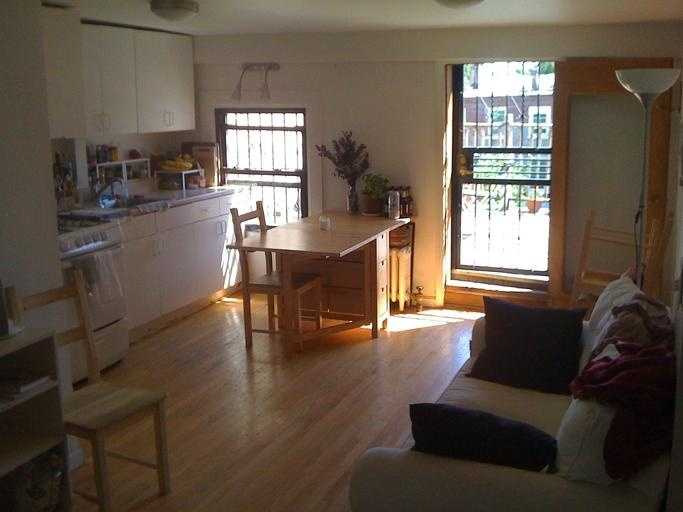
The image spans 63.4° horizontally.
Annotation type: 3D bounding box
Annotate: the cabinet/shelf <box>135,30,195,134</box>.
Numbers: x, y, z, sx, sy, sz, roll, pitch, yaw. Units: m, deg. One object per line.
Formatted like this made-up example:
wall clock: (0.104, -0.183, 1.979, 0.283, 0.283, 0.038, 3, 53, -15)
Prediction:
cabinet/shelf: (-2.198, -1.992, 6.353, 1.239, 1.235, 0.474, 11, 17, 41)

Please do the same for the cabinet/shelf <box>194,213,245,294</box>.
cabinet/shelf: (-1.315, -0.047, 5.793, 0.274, 0.718, 0.751, 0, 11, 14)

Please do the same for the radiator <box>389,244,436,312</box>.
radiator: (0.711, 0.261, 5.808, 0.534, 0.587, 0.405, 11, 6, 32)

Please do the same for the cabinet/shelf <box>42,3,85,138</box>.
cabinet/shelf: (-2.177, -1.435, 4.343, 0.231, 0.984, 0.550, 1, 10, 3)

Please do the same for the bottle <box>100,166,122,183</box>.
bottle: (-2.351, -0.820, 5.574, 0.110, 0.192, 0.199, 2, 13, 15)

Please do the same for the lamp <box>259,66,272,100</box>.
lamp: (-0.839, -1.873, 6.023, 0.118, 0.340, 0.270, -1, 11, -9)

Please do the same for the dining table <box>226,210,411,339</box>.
dining table: (-0.075, 0.207, 5.356, 1.288, 0.977, 2.069, 7, 14, 33)

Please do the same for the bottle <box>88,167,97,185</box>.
bottle: (-2.442, -0.786, 5.400, 0.084, 0.178, 0.073, -7, 12, -33)

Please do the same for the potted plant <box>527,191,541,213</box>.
potted plant: (2.011, -0.572, 5.819, 0.169, 0.189, 0.173, -8, 18, -20)

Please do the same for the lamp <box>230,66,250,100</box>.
lamp: (-1.161, -1.892, 6.076, 0.196, 0.355, 0.340, 1, 11, 5)

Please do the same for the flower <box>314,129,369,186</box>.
flower: (-0.006, -1.055, 6.095, 0.532, 0.623, 0.579, 1, 5, -1)

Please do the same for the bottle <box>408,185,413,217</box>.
bottle: (0.721, -0.562, 5.722, 0.048, 0.281, 0.141, 1, 10, 6)

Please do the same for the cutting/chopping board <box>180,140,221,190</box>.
cutting/chopping board: (-1.578, -1.043, 6.348, 0.450, 0.495, 0.110, 1, 4, 16)

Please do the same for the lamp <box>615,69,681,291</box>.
lamp: (2.298, -0.586, 4.224, 0.398, 1.754, 1.612, 6, 12, 28)

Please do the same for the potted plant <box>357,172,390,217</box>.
potted plant: (0.327, -0.655, 5.727, 0.235, 0.347, 0.243, -4, 2, -22)
